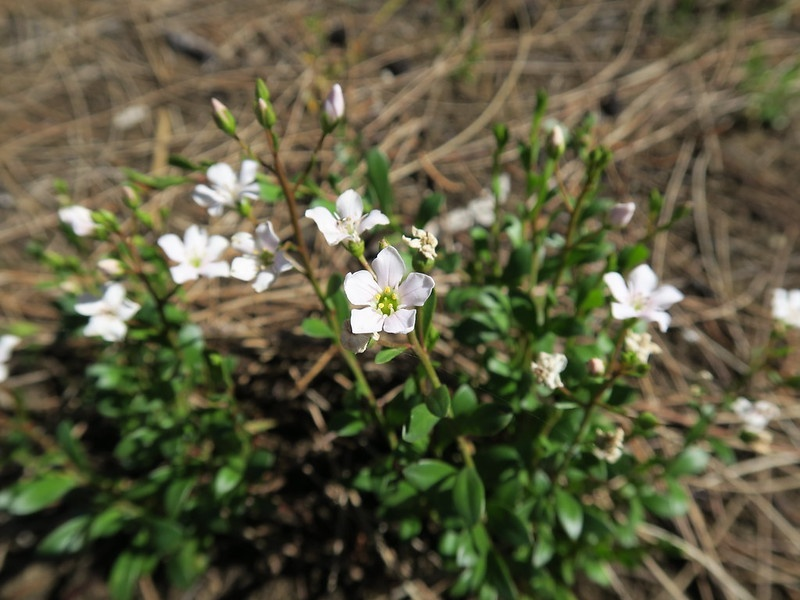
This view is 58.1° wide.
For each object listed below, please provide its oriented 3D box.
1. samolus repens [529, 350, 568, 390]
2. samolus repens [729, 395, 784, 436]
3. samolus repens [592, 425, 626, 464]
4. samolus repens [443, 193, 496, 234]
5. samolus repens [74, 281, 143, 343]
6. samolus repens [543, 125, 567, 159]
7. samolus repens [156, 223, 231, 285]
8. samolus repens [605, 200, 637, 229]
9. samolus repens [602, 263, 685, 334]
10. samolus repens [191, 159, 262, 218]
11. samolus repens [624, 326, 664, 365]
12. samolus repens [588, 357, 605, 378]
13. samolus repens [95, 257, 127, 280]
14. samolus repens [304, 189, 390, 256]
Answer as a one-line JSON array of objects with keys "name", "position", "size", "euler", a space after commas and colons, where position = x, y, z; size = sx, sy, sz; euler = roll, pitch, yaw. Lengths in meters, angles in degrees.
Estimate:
[{"name": "samolus repens", "position": [0.977, 0.456, 4.741], "size": [0.240, 0.095, 0.225], "euler": [-45, 122, -37]}, {"name": "samolus repens", "position": [2.350, 0.777, 4.785], "size": [0.198, 0.125, 0.265], "euler": [-28, 48, -25]}, {"name": "samolus repens", "position": [1.355, 0.944, 4.692], "size": [0.089, 0.224, 0.221], "euler": [17, 33, -33]}, {"name": "samolus repens", "position": [0.555, -0.693, 5.903], "size": [0.168, 0.450, 0.251], "euler": [48, 29, -23]}, {"name": "samolus repens", "position": [-1.898, 0.108, 4.738], "size": [0.360, 0.367, 0.323], "euler": [-23, 72, -12]}, {"name": "samolus repens", "position": [0.944, -0.973, 4.376], "size": [0.118, 0.127, 0.208], "euler": [11, 69, 0]}, {"name": "samolus repens", "position": [-1.303, -0.284, 4.704], "size": [0.374, 0.428, 0.175], "euler": [3, 73, 0]}, {"name": "samolus repens", "position": [1.327, -0.517, 4.373], "size": [0.132, 0.126, 0.161], "euler": [24, 69, 5]}, {"name": "samolus repens", "position": [1.447, -0.019, 4.428], "size": [0.465, 0.237, 0.378], "euler": [13, 69, 0]}, {"name": "samolus repens", "position": [-1.080, -0.690, 4.475], "size": [0.432, 0.246, 0.283], "euler": [-13, 71, -9]}, {"name": "samolus repens", "position": [1.458, 0.275, 4.372], "size": [0.113, 0.236, 0.234], "euler": [-34, 79, 27]}, {"name": "samolus repens", "position": [1.220, 0.419, 4.502], "size": [0.085, 0.072, 0.118], "euler": [3, 105, 35]}, {"name": "samolus repens", "position": [-1.889, -0.227, 4.605], "size": [0.198, 0.152, 0.120], "euler": [22, 87, 3]}, {"name": "samolus repens", "position": [-0.295, -0.416, 4.507], "size": [0.404, 0.259, 0.538], "euler": [-2, 63, 19]}]
